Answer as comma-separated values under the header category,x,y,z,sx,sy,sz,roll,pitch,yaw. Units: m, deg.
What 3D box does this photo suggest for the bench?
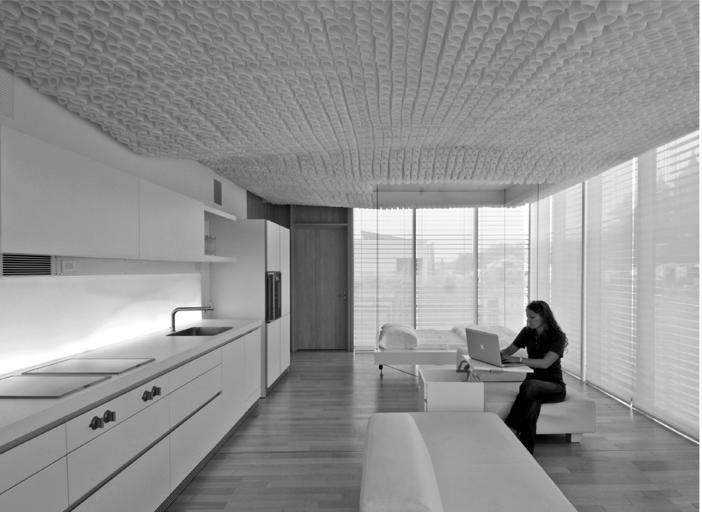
category,x,y,z,sx,sy,sz,roll,pitch,yaw
bench,1.853,1.513,4.813,0.660,0.266,0.733,0,-3,6

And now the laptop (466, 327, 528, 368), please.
category,x,y,z,sx,sy,sz,roll,pitch,yaw
laptop,1.472,0.900,4.951,0.329,0.333,0.482,1,-1,-32

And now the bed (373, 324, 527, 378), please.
category,x,y,z,sx,sy,sz,roll,pitch,yaw
bed,1.001,1.182,6.421,1.284,0.490,1.268,-1,-2,-3

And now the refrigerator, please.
category,x,y,z,sx,sy,sz,roll,pitch,yaw
refrigerator,-1.236,0.620,5.932,0.871,2.149,2.279,-1,-2,0
